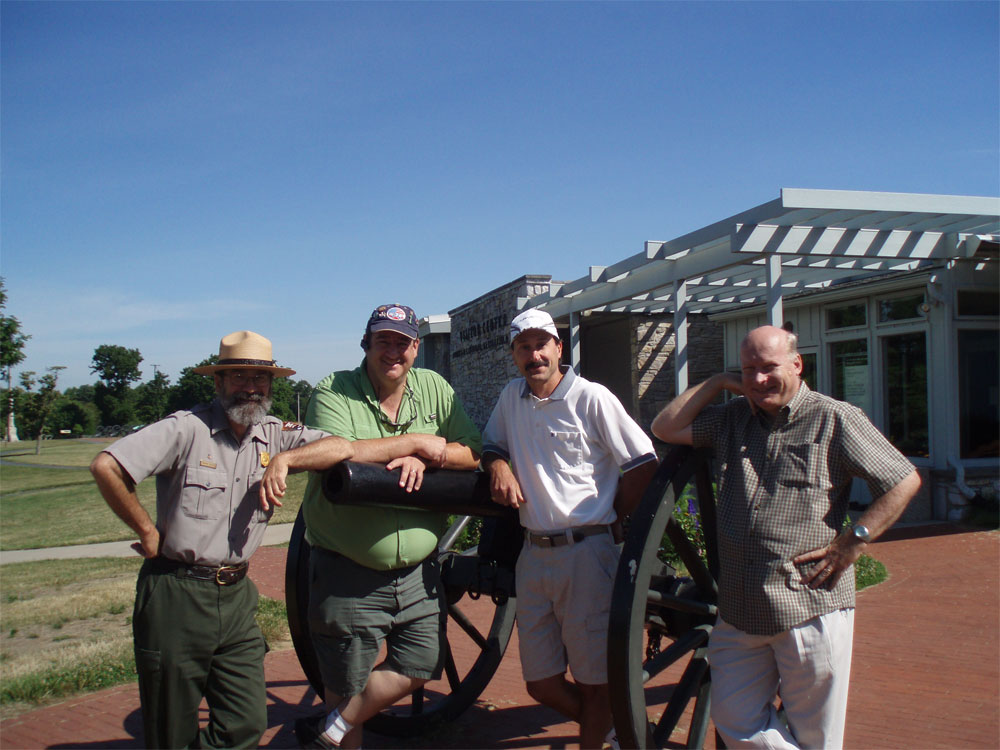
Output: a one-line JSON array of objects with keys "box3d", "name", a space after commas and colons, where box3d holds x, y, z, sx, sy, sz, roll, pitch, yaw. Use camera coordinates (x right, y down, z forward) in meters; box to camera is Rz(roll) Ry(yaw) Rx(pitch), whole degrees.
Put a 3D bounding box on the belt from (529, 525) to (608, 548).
[{"box3d": [0.325, 0.749, 3.468, 0.382, 0.112, 0.094, -1, -1, 9], "name": "belt"}]
